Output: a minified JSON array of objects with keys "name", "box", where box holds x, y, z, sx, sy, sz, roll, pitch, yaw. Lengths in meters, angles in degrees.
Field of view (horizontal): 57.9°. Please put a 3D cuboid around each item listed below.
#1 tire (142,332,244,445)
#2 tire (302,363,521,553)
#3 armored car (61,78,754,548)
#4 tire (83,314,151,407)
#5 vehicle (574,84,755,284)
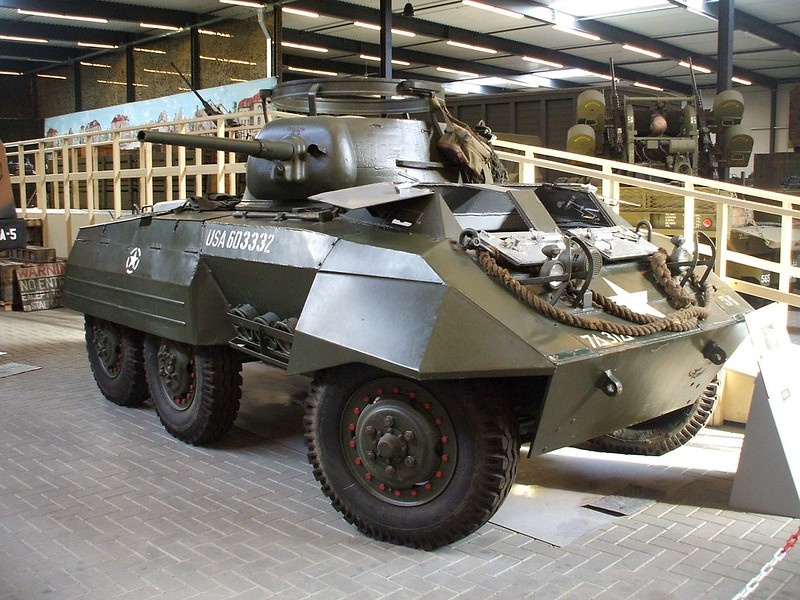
[{"name":"tire","box":[-1.849,0.598,6.332,0.386,1.279,1.217,-8,11,-43]},{"name":"tire","box":[0.092,0.964,4.484,1.039,1.103,0.391,8,5,30]},{"name":"armored car","box":[-0.139,-0.267,5.853,4.643,2.498,3.187,5,5,44]},{"name":"tire","box":[-2.700,0.569,6.941,0.840,0.884,0.313,2,5,42]},{"name":"vehicle","box":[4.527,-2.338,13.159,2.662,2.487,2.628,2,-8,3]}]
